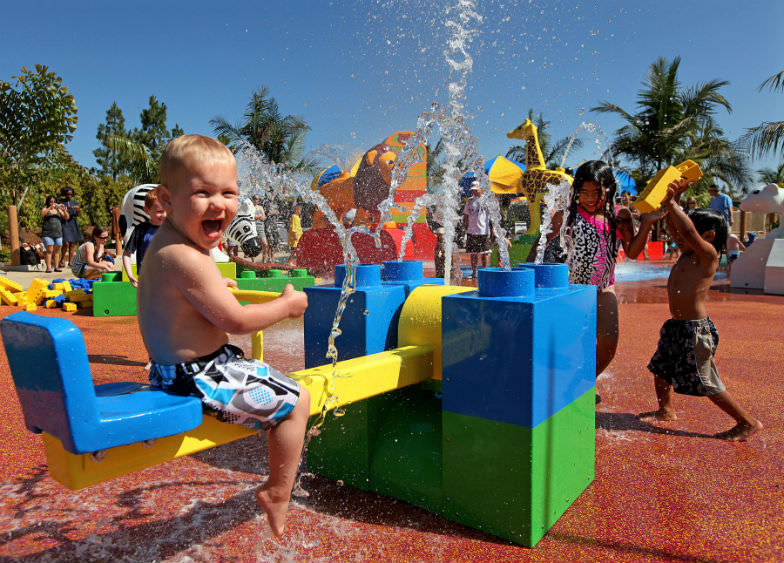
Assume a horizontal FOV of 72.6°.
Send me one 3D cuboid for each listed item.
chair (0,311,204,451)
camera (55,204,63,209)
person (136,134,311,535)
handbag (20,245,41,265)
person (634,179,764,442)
[{"bbox_3d":[-1.090,0.390,2.001,0.523,0.462,0.547,6,7,43],"label":"chair"},{"bbox_3d":[-8.096,-1.789,13.042,0.116,0.114,0.306,-1,10,-5],"label":"camera"},{"bbox_3d":[-0.689,0.270,2.214,0.677,1.702,0.364,-4,9,-20],"label":"person"},{"bbox_3d":[-10.527,-0.747,15.565,0.577,0.605,0.520,5,5,42],"label":"handbag"},{"bbox_3d":[2.174,0.165,3.769,0.647,1.724,0.612,5,10,31],"label":"person"}]
